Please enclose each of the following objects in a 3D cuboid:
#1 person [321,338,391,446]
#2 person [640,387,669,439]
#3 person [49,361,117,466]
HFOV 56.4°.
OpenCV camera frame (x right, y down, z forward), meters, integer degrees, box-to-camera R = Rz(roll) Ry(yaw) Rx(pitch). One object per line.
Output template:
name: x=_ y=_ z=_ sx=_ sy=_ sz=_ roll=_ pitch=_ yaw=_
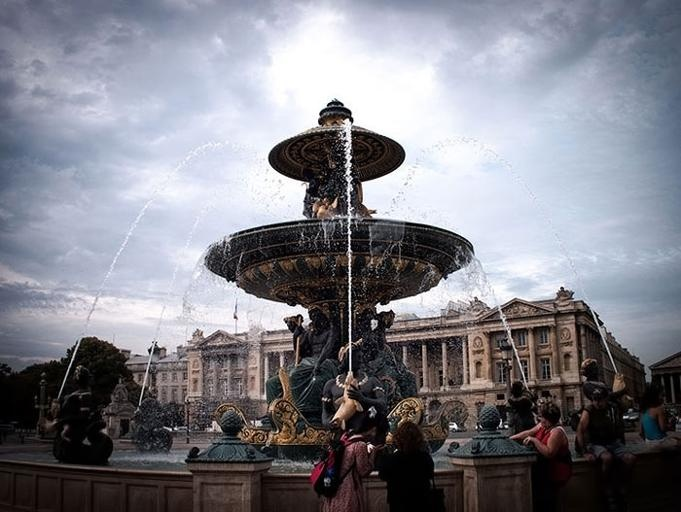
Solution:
person: x=0.107 y=1.551 z=7.195 sx=0.718 sy=1.147 sz=0.668 roll=-11 pitch=-19 yaw=22
person: x=3.917 y=1.985 z=7.958 sx=0.311 sy=0.657 sz=0.752 roll=-9 pitch=-18 yaw=23
person: x=-3.465 y=2.112 z=8.568 sx=0.782 sy=1.359 sz=1.474 roll=4 pitch=-17 yaw=-19
